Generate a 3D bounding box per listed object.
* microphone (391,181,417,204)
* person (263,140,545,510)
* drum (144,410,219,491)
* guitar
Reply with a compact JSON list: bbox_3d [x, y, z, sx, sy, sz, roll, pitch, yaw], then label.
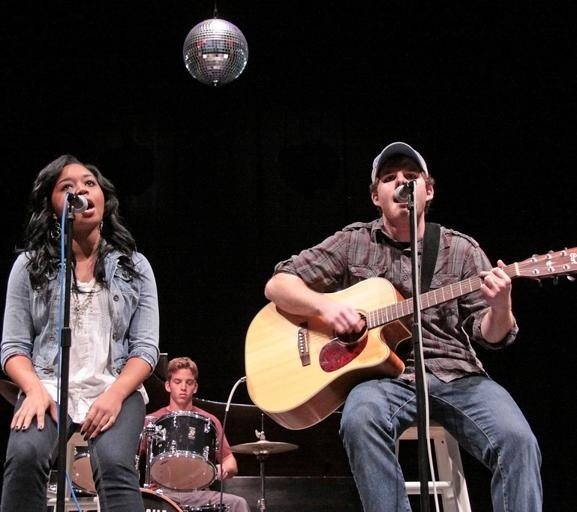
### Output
[{"bbox_3d":[0.517,-0.274,3.044,0.036,0.099,0.112,1,-18,-43],"label":"microphone"},{"bbox_3d":[0.550,0.319,3.397,1.103,1.836,0.595,-11,-28,20],"label":"person"},{"bbox_3d":[-0.663,1.299,4.517,0.475,0.315,0.474,-2,-37,-1],"label":"drum"},{"bbox_3d":[0.478,0.589,3.581,1.848,0.845,0.270,-26,-40,22],"label":"guitar"}]
